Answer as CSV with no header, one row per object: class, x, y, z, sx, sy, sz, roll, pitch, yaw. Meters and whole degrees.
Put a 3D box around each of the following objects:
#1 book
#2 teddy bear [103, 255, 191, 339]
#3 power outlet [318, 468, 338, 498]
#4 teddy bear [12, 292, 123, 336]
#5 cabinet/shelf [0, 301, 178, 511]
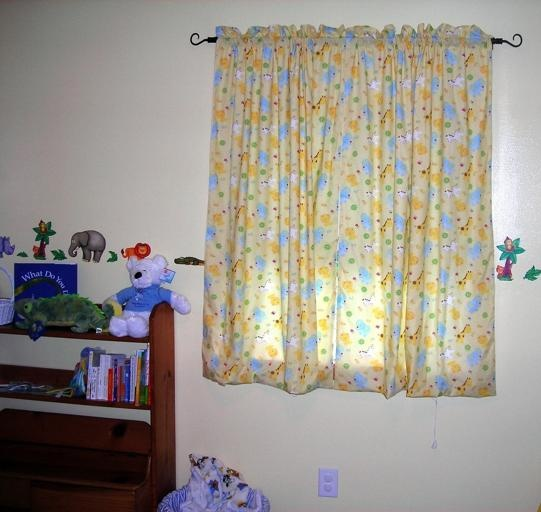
book,-0.814,0.583,2.902,0.473,0.295,0.166,3,-1,5
teddy bear,-0.654,0.197,2.918,0.472,0.443,0.293,-1,-4,17
power outlet,0.305,1.185,3.040,0.141,0.219,0.015,0,1,3
teddy bear,-1.068,0.300,2.891,0.549,0.231,0.211,3,-1,16
cabinet/shelf,-0.887,0.775,2.909,0.863,0.960,0.334,3,7,10
